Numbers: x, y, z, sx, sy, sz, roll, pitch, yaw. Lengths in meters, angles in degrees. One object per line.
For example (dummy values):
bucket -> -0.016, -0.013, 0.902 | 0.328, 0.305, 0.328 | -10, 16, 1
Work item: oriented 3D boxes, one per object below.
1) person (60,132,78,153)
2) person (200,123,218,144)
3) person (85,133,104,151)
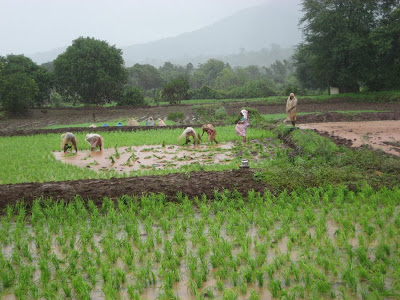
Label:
person -> -5.565, -0.292, 16.217 | 0.687, 1.174, 0.631 | -4, 16, -24
person -> 0.490, -0.711, 16.947 | 0.630, 0.774, 0.786 | -7, 11, -24
person -> -4.511, -0.350, 16.278 | 0.511, 0.601, 0.849 | -5, 7, -27
